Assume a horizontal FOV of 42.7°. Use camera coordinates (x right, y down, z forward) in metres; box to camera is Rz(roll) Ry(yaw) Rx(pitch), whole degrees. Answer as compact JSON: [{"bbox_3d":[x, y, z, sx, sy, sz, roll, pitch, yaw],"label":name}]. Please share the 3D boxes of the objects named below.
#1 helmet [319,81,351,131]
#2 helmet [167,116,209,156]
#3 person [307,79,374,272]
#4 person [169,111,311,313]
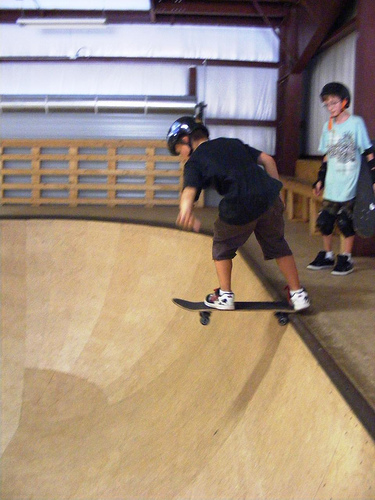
[{"bbox_3d":[1.103,-1.121,3.618,0.231,0.275,0.269,13,44,28],"label":"helmet"},{"bbox_3d":[-0.028,-0.704,2.910,0.266,0.237,0.195,-18,4,7],"label":"helmet"},{"bbox_3d":[1.214,-0.530,3.776,0.447,1.453,0.414,4,10,7],"label":"person"},{"bbox_3d":[0.312,-0.165,3.093,0.882,1.285,1.322,3,9,2],"label":"person"}]
